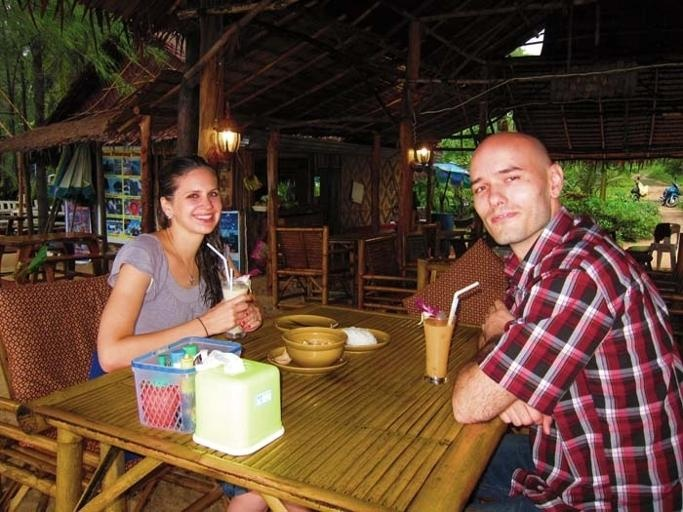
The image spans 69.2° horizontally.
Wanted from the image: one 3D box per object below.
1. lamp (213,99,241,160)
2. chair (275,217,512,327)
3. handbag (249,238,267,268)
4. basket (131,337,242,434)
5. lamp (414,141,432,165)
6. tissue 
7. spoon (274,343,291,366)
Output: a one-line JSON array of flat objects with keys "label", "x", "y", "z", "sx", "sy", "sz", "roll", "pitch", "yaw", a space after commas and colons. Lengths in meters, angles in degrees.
[{"label": "lamp", "x": -1.760, "y": -1.978, "z": 7.695, "sx": 0.369, "sy": 0.872, "sz": 0.341, "roll": -1, "pitch": 17, "yaw": -15}, {"label": "chair", "x": 0.428, "y": 0.154, "z": 6.257, "sx": 1.853, "sy": 0.864, "sz": 1.059, "roll": 3, "pitch": -26, "yaw": -2}, {"label": "handbag", "x": -1.838, "y": -0.080, "z": 11.015, "sx": 0.178, "sy": 0.556, "sz": 0.440, "roll": 15, "pitch": -16, "yaw": -31}, {"label": "basket", "x": -0.576, "y": 0.487, "z": 2.010, "sx": 0.312, "sy": 0.251, "sz": 0.431, "roll": 4, "pitch": 3, "yaw": 19}, {"label": "lamp", "x": 1.938, "y": -2.426, "z": 11.839, "sx": 0.345, "sy": 0.480, "sz": 0.961, "roll": 5, "pitch": 13, "yaw": 4}, {"label": "tissue ", "x": -0.362, "y": 0.516, "z": 1.875, "sx": 0.372, "sy": 0.313, "sz": 0.347, "roll": 7, "pitch": 10, "yaw": 39}, {"label": "spoon", "x": -0.299, "y": 0.491, "z": 2.495, "sx": 0.065, "sy": 0.035, "sz": 0.104, "roll": -2, "pitch": 23, "yaw": 5}]
